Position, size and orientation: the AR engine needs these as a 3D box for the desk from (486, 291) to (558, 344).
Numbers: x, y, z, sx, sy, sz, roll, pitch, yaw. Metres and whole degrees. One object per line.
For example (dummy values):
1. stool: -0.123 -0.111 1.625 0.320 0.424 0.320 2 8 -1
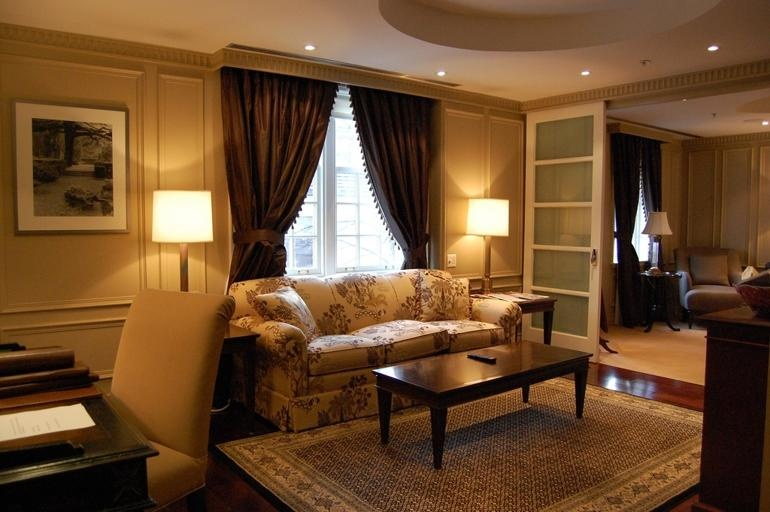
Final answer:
1. desk: 1.492 0.532 6.087 0.599 0.671 0.696 0 1 -29

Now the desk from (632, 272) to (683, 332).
1. desk: 4.112 0.721 8.381 0.641 0.740 0.622 -9 2 -33

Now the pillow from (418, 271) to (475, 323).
1. pillow: 0.606 0.410 5.594 0.470 0.483 0.293 1 -2 -13

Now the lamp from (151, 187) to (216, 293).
1. lamp: -1.702 -0.130 4.701 0.461 0.856 0.426 -3 8 -23

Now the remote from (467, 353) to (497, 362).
1. remote: 0.795 0.814 4.454 0.131 0.028 0.074 7 5 41

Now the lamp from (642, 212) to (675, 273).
1. lamp: 4.059 -0.234 8.324 0.373 0.895 1.030 4 8 26

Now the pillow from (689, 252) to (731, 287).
1. pillow: 4.885 0.217 8.339 0.455 0.465 0.167 4 -31 11
